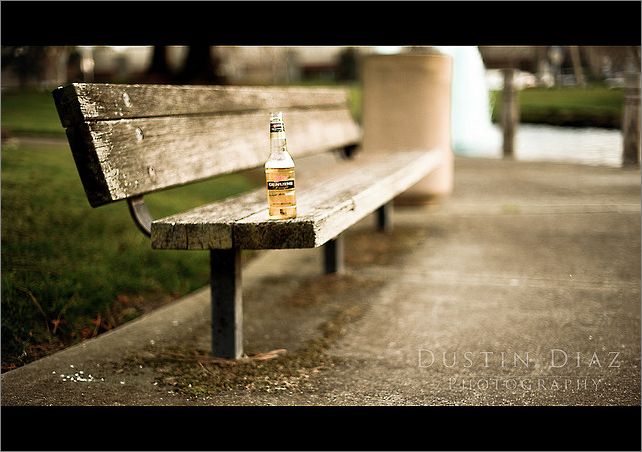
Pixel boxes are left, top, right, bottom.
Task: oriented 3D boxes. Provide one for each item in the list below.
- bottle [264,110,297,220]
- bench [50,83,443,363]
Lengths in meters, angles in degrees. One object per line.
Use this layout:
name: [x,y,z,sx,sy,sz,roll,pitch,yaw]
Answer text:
bottle: [-0.135,-0.190,1.606,0.096,0.312,0.182,-8,15,-5]
bench: [0.107,-0.282,2.802,0.996,0.979,2.759,-1,14,16]
